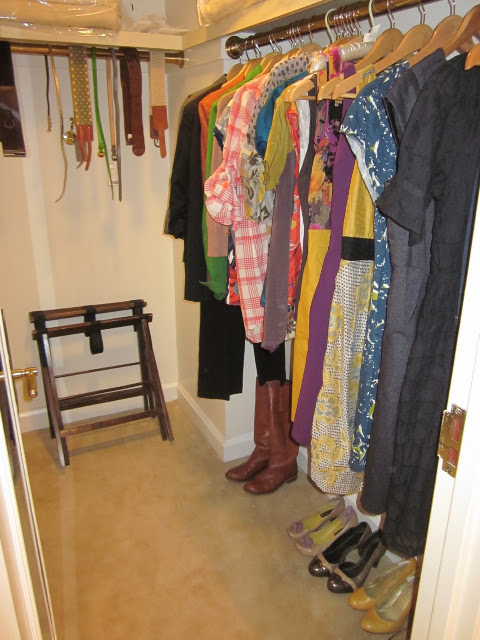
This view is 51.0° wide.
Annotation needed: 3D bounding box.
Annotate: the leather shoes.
[{"bbox_3d":[0.475,0.878,1.600,0.265,0.118,0.159,-12,21,-22],"label":"leather shoes"}]
